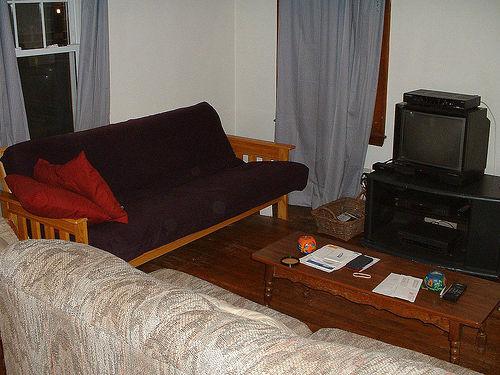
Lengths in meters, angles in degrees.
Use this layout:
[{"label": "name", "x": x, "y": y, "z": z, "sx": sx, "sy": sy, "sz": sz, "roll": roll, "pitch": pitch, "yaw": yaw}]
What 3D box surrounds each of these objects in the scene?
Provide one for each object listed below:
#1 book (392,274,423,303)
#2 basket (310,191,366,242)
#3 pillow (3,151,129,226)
[{"label": "book", "x": 0.926, "y": 0.578, "z": 2.344, "sx": 0.104, "sy": 0.012, "sz": 0.159, "roll": 9, "pitch": 26, "yaw": 27}, {"label": "basket", "x": 0.931, "y": 0.273, "z": 4.052, "sx": 0.401, "sy": 0.219, "sz": 0.528, "roll": 7, "pitch": 16, "yaw": 35}, {"label": "pillow", "x": -1.272, "y": 0.000, "z": 2.712, "sx": 0.767, "sy": 0.453, "sz": 0.452, "roll": 11, "pitch": 13, "yaw": 19}]
